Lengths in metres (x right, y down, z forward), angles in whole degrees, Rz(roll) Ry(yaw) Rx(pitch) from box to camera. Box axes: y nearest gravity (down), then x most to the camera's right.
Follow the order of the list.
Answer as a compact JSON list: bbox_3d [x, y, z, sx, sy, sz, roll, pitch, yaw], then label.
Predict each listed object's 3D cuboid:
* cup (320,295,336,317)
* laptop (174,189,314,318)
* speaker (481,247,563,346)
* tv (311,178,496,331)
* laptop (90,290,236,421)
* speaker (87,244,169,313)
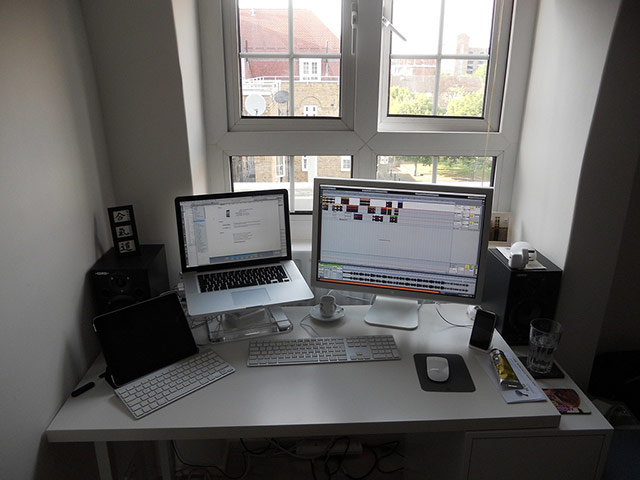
[{"bbox_3d":[0.032,0.268,1.915,0.052,0.064,0.085,0,9,2],"label":"cup"},{"bbox_3d":[-0.326,0.042,1.895,0.553,0.410,0.474,-7,36,-13],"label":"laptop"},{"bbox_3d":[0.772,0.213,1.939,0.228,0.446,0.436,1,16,1],"label":"speaker"},{"bbox_3d":[0.321,0.059,1.842,0.524,0.459,0.206,4,19,9],"label":"tv"},{"bbox_3d":[-0.558,0.395,1.622,0.381,0.247,0.380,-23,37,-35],"label":"laptop"},{"bbox_3d":[-0.722,0.109,1.801,0.222,0.222,0.226,-1,26,-23],"label":"speaker"}]
